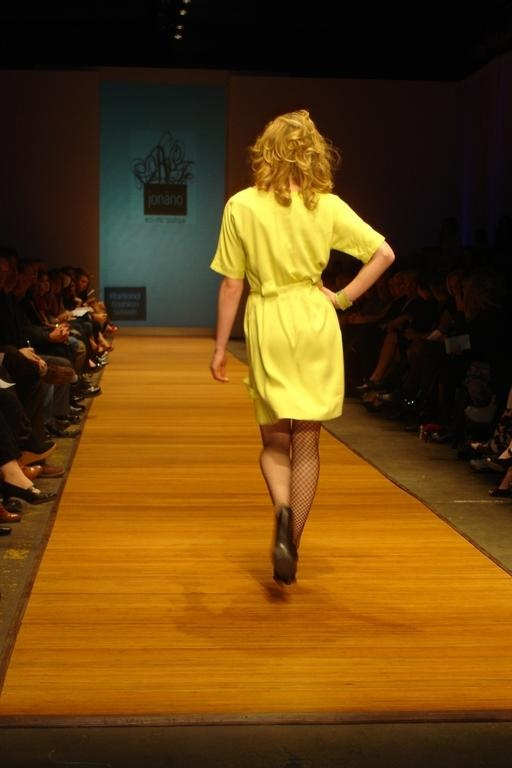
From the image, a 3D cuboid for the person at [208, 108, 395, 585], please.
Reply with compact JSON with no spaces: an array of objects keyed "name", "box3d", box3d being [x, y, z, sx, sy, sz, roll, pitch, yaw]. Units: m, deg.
[{"name":"person","box3d":[0.120,-0.101,1.756,0.426,1.318,0.257,1,2,-28]}]
